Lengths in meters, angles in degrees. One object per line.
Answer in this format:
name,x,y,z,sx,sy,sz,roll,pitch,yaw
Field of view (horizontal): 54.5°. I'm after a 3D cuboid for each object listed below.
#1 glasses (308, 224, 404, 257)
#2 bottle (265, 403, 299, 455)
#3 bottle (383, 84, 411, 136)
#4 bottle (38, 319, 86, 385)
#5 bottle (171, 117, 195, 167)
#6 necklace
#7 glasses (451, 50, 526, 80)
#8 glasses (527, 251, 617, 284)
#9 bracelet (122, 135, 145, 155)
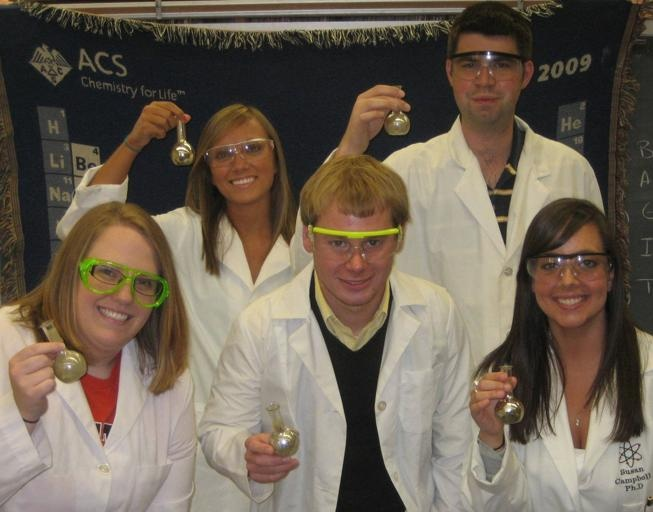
glasses,0.110,-0.061,2.719,0.375,0.130,0.133,-1,3,-3
bottle,-0.180,0.702,2.569,0.124,0.230,0.150,-1,3,-3
bottle,0.384,-0.797,3.525,0.137,0.232,0.382,0,3,6
bottle,-1.023,0.378,2.454,0.119,0.232,0.227,-4,4,-41
bottle,-0.928,-0.703,4.073,0.140,0.260,0.495,-2,3,-13
necklace,1.196,0.494,3.025,0.150,0.654,0.184,-2,8,22
glasses,0.898,-1.073,3.586,0.363,0.153,0.078,-1,4,5
glasses,1.130,0.053,2.997,0.359,0.135,0.088,0,3,12
bracelet,-1.188,-0.676,3.921,0.133,0.105,0.138,5,29,0
